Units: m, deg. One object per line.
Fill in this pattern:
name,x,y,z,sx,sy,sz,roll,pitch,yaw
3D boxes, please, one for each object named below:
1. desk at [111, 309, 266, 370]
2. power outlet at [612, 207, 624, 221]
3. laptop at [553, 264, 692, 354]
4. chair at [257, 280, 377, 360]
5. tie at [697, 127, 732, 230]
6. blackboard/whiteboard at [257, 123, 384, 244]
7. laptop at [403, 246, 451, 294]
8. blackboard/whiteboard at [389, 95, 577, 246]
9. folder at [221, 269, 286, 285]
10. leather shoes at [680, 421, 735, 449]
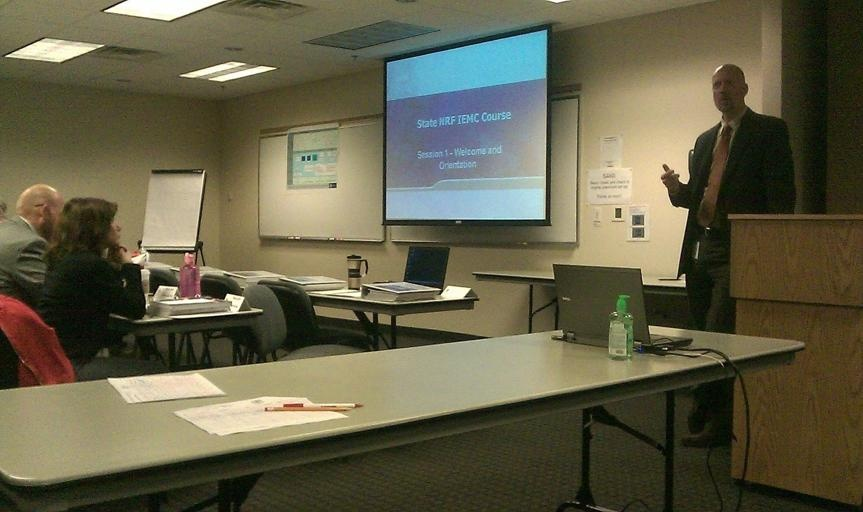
desk,-1.876,0.637,4.600,0.836,0.580,0.693,0,-1,-27
power outlet,1.905,-0.432,6.144,0.024,0.173,0.132,-4,7,-45
laptop,0.933,0.209,3.054,0.510,0.355,0.478,0,1,-39
chair,-0.828,0.395,4.579,0.704,0.857,0.583,-2,2,-33
tie,1.938,-0.543,4.154,0.153,0.685,0.059,8,16,8
blackboard/whiteboard,-1.531,-1.044,8.602,1.974,1.282,0.148,0,2,35
laptop,-0.053,0.113,5.462,0.483,0.341,0.340,12,10,34
blackboard/whiteboard,0.649,-0.993,6.797,1.919,1.251,0.133,-1,-4,34
folder,-1.738,0.184,5.704,0.402,0.102,0.411,-2,5,-43
leather shoes,1.948,1.262,4.239,0.377,0.191,0.224,-7,-5,0
